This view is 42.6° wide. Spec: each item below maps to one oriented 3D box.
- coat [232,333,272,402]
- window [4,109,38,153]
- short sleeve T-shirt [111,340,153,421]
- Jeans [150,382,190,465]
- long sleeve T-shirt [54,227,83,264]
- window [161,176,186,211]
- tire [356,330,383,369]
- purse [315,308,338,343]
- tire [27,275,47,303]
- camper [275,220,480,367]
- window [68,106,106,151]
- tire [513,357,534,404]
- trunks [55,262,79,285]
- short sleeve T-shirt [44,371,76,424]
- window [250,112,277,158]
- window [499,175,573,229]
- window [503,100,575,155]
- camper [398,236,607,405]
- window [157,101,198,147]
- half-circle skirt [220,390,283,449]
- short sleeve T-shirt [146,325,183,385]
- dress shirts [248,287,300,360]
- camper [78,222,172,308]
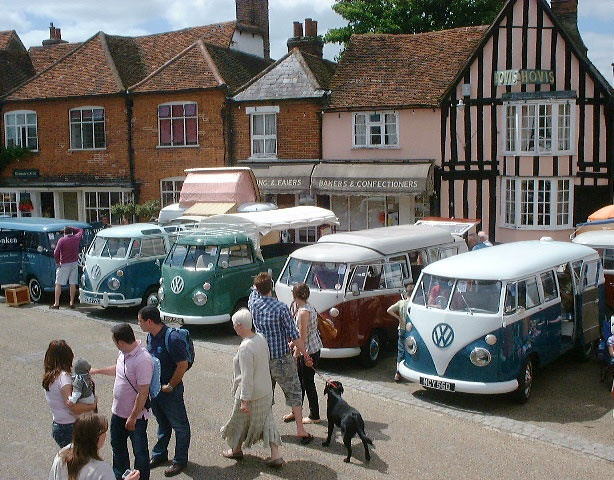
[{"bbox_3d":[-0.915,2.140,13.477,0.535,1.057,1.012,2,13,18],"label":"coat"},{"bbox_3d":[-11.987,-4.555,33.070,1.427,1.839,0.107,8,16,19],"label":"window"},{"bbox_3d":[-2.883,2.273,12.802,0.520,1.156,0.876,-3,10,-42],"label":"short sleeve T-shirt"},{"bbox_3d":[-2.368,3.154,13.436,0.655,1.454,0.485,5,6,44],"label":"Jeans"},{"bbox_3d":[-6.725,0.223,22.055,0.761,0.866,0.440,-8,20,-37],"label":"long sleeve T-shirt"},{"bbox_3d":[-5.053,-1.730,29.738,1.219,1.667,0.164,2,3,15],"label":"window"},{"bbox_3d":[1.413,2.462,17.808,0.302,0.835,0.767,1,1,27],"label":"tire"},{"bbox_3d":[0.292,1.680,15.026,0.220,0.545,0.394,-31,21,5],"label":"purse"},{"bbox_3d":[-7.887,1.446,22.894,0.651,0.769,0.244,4,6,36],"label":"tire"},{"bbox_3d":[1.627,1.142,18.598,2.300,2.259,4.171,0,5,43],"label":"camper"},{"bbox_3d":[-8.948,-4.464,32.027,1.502,1.754,0.078,-1,3,3],"label":"window"},{"bbox_3d":[4.240,2.820,15.570,0.256,0.844,0.761,2,11,35],"label":"tire"},{"bbox_3d":[-6.721,0.984,22.020,0.302,0.602,0.545,10,6,43],"label":"trunks"},{"bbox_3d":[-3.957,2.509,12.581,0.644,0.666,0.378,-8,-5,39],"label":"short sleeve T-shirt"},{"bbox_3d":[-1.623,-3.964,29.647,1.322,2.333,0.249,3,5,14],"label":"window"},{"bbox_3d":[7.613,-1.194,26.122,2.183,1.943,0.891,1,-4,17],"label":"window"},{"bbox_3d":[7.814,-3.740,26.278,1.513,1.523,0.187,1,3,11],"label":"window"},{"bbox_3d":[4.255,1.444,16.858,2.474,2.442,4.429,0,5,44],"label":"camper"},{"bbox_3d":[-5.011,-4.528,30.637,1.480,1.571,0.186,2,5,26],"label":"window"},{"bbox_3d":[-0.949,3.134,13.758,0.986,1.175,0.838,4,14,9],"label":"half-circle skirt"},{"bbox_3d":[-2.358,1.945,12.973,0.518,1.062,0.830,1,2,-44],"label":"short sleeve T-shirt"},{"bbox_3d":[-0.592,1.584,13.885,1.161,0.968,0.420,7,12,10],"label":"dress shirts"},{"bbox_3d":[-5.114,0.729,21.343,1.424,1.677,3.029,1,2,39],"label":"camper"}]
